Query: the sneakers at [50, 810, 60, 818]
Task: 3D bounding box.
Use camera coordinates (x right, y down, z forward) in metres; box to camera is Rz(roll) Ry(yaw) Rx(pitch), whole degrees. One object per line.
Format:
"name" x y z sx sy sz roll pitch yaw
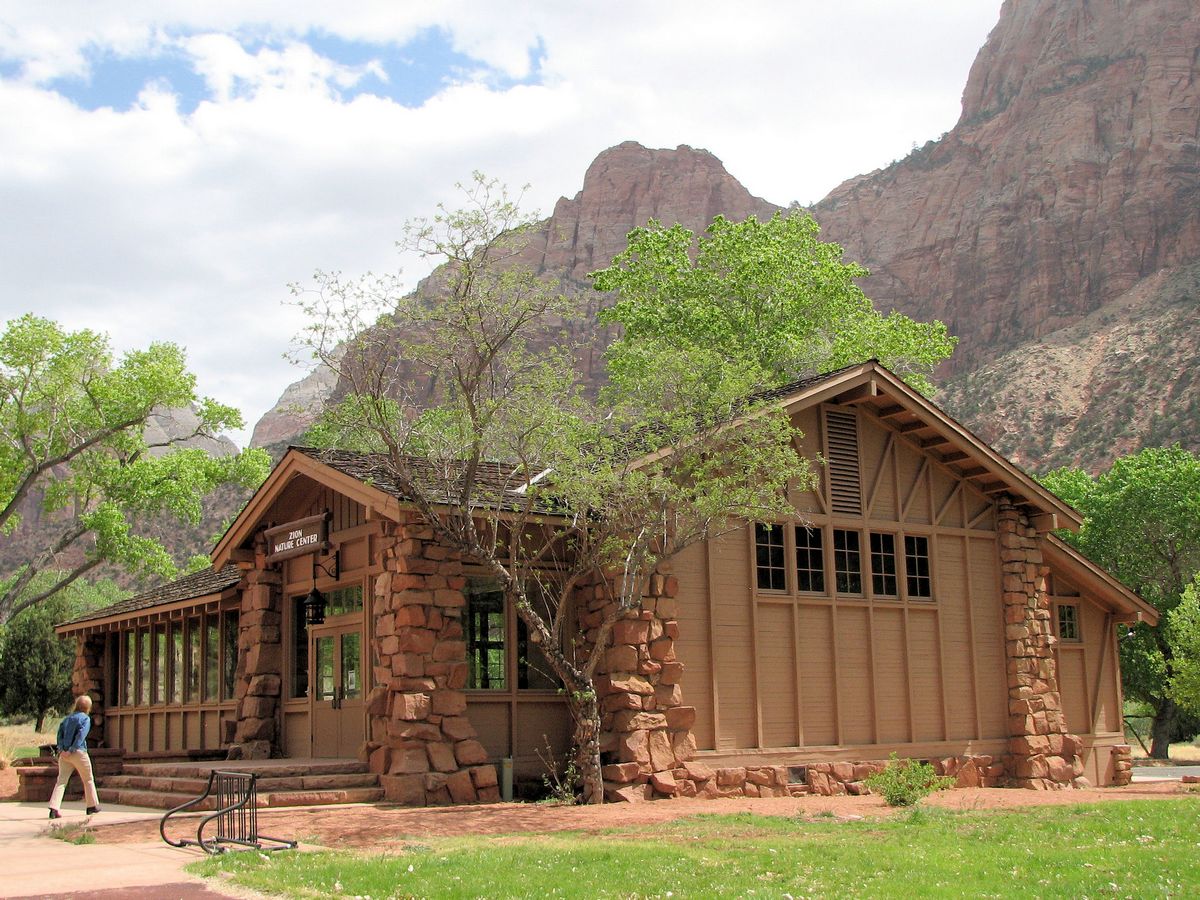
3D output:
"sneakers" -8.975 5.972 20.040 0.113 0.104 0.142 0 -17 -1

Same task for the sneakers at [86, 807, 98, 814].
"sneakers" -8.576 6.072 20.531 0.093 0.108 0.166 0 -13 -12
